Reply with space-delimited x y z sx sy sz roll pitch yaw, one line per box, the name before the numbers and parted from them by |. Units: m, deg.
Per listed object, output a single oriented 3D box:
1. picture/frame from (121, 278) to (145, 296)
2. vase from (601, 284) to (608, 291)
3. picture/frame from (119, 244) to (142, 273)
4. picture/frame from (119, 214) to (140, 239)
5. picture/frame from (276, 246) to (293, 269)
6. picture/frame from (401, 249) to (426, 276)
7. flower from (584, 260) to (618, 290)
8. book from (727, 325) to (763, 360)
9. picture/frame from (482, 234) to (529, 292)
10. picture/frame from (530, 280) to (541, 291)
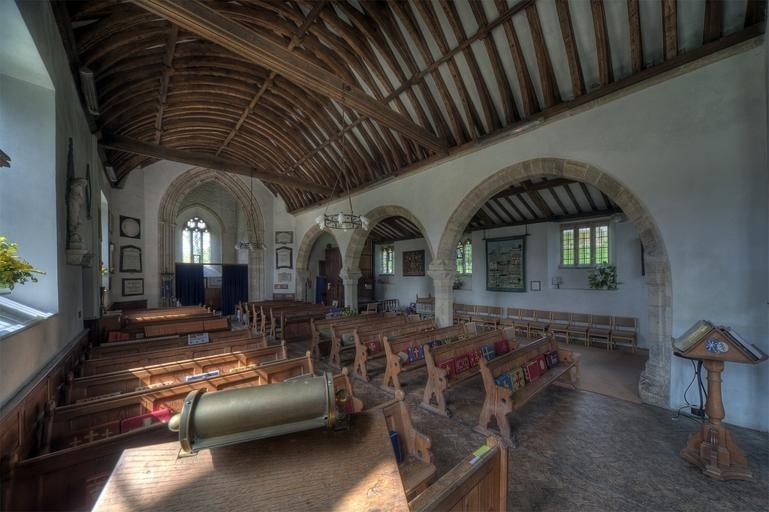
picture/frame | -7.524 0.926 12.305 0.038 0.435 0.500 -10 -12 29
vase | 5.342 0.772 10.062 0.117 0.127 0.056 10 17 39
picture/frame | -7.565 0.107 12.278 0.139 0.865 0.732 -11 -9 24
picture/frame | -7.595 -0.825 12.323 0.167 0.528 0.542 1 -6 17
picture/frame | -3.732 0.105 15.413 0.750 0.953 0.071 -3 -7 17
picture/frame | 1.073 0.269 15.163 0.097 0.916 0.902 4 -4 -41
flower | 5.289 0.482 10.087 0.574 0.424 0.583 1 2 43
book | 4.704 1.144 5.376 0.479 0.350 0.314 -3 13 -7
picture/frame | 3.536 0.223 11.951 0.131 1.864 1.520 4 -6 -42
picture/frame | 4.140 0.808 11.354 0.038 0.310 0.269 2 -3 -37
